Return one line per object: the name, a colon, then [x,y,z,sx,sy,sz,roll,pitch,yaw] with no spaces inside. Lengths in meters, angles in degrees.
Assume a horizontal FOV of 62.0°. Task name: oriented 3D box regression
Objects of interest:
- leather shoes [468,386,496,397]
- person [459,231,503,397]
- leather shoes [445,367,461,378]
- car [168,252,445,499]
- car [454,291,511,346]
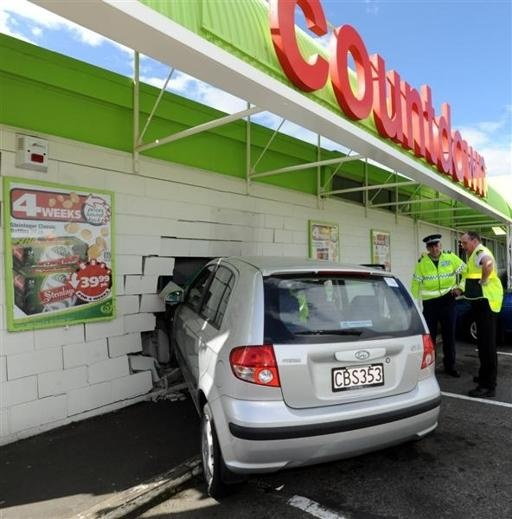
leather shoes: [2.482,1.461,4.742,0.302,0.126,0.108,2,-2,12]
person: [2.691,0.608,5.088,0.445,1.884,1.114,-1,2,29]
leather shoes: [2.562,1.482,5.551,0.075,0.082,0.198,-3,9,-11]
car: [0.129,0.695,4.147,1.824,1.494,3.233,1,5,-19]
car: [3.900,1.069,7.949,1.595,0.807,0.928,1,0,38]
